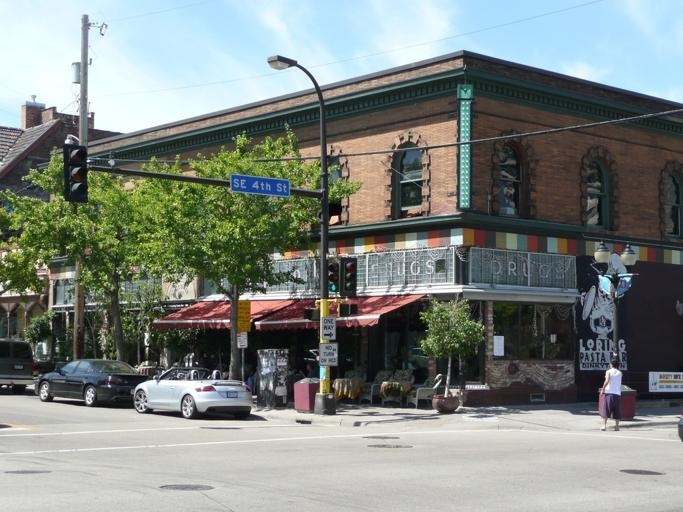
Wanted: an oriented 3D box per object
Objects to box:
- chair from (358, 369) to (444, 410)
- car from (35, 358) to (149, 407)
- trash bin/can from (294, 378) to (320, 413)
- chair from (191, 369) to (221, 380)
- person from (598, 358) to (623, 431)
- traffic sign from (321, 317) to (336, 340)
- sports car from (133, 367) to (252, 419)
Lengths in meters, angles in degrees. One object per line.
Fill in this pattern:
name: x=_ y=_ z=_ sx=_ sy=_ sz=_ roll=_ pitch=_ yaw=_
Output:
chair: x=2.231 y=4.637 z=41.067 sx=1.853 sy=1.544 sz=2.055 roll=-6 pitch=-8 yaw=37
car: x=-9.051 y=4.480 z=41.737 sx=4.858 sy=1.479 sz=2.030 roll=-1 pitch=-5 yaw=42
trash bin/can: x=-1.152 y=4.743 z=39.274 sx=0.930 sy=1.235 sz=0.974 roll=-2 pitch=-5 yaw=7
chair: x=-4.393 y=3.856 z=37.528 sx=0.626 sy=0.276 sz=0.433 roll=0 pitch=-10 yaw=17
person: x=8.364 y=4.271 z=36.279 sx=0.589 sy=2.404 sz=1.478 roll=0 pitch=-11 yaw=12
traffic sign: x=-0.487 y=2.346 z=38.104 sx=0.430 sy=0.768 sz=0.347 roll=2 pitch=-10 yaw=1
sports car: x=-4.716 y=4.344 z=36.918 sx=1.808 sy=1.529 sz=4.287 roll=3 pitch=-5 yaw=-44
